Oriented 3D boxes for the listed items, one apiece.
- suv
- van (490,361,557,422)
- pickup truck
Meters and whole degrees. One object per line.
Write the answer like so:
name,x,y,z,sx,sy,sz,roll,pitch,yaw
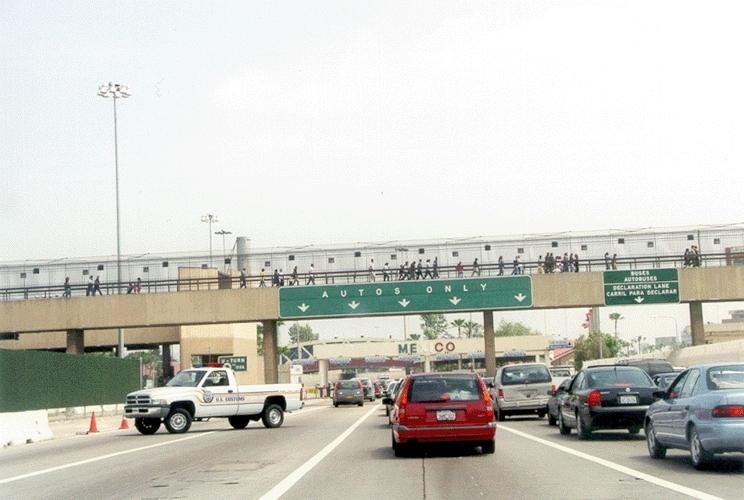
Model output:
suv,2.554,6.271,49.145,3.606,3.223,6.531,-1,0,1
van,7.012,6.603,61.410,2.510,2.535,5.252,0,-14,3
pickup truck,-7.069,6.782,61.144,7.764,3.489,3.563,2,-2,-33
